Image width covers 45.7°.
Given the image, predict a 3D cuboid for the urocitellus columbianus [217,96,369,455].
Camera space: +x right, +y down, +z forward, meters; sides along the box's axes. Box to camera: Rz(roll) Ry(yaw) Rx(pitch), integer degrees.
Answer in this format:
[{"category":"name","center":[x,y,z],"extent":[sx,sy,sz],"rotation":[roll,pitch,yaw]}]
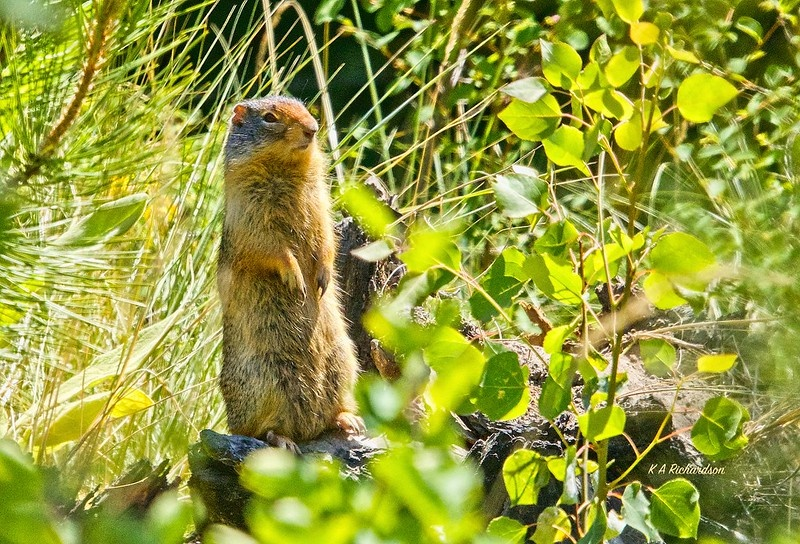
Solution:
[{"category":"urocitellus columbianus","center":[-0.693,0.020,5.598],"extent":[0.755,2.033,0.813],"rotation":[-6,7,-33]}]
